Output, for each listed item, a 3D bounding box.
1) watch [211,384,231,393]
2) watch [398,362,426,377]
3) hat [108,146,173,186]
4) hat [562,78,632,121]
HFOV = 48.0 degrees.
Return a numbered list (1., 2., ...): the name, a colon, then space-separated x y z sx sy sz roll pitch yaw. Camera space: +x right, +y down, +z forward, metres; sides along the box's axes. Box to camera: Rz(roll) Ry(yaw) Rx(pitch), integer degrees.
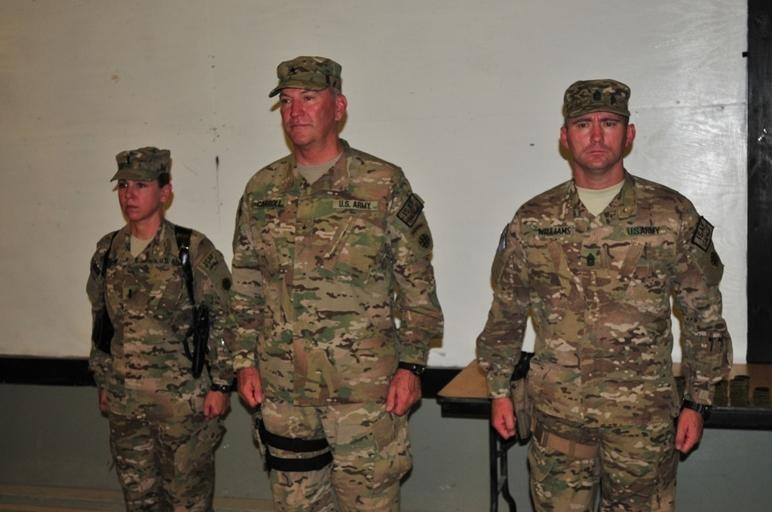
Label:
1. watch: -0.956 0.761 4.995 0.086 0.038 0.070 2 1 26
2. watch: 0.143 0.584 4.440 0.112 0.039 0.076 6 3 -2
3. hat: -1.414 -0.533 5.140 0.227 0.107 0.297 4 20 15
4. hat: 1.081 -0.793 4.417 0.415 0.161 0.526 0 -1 13
